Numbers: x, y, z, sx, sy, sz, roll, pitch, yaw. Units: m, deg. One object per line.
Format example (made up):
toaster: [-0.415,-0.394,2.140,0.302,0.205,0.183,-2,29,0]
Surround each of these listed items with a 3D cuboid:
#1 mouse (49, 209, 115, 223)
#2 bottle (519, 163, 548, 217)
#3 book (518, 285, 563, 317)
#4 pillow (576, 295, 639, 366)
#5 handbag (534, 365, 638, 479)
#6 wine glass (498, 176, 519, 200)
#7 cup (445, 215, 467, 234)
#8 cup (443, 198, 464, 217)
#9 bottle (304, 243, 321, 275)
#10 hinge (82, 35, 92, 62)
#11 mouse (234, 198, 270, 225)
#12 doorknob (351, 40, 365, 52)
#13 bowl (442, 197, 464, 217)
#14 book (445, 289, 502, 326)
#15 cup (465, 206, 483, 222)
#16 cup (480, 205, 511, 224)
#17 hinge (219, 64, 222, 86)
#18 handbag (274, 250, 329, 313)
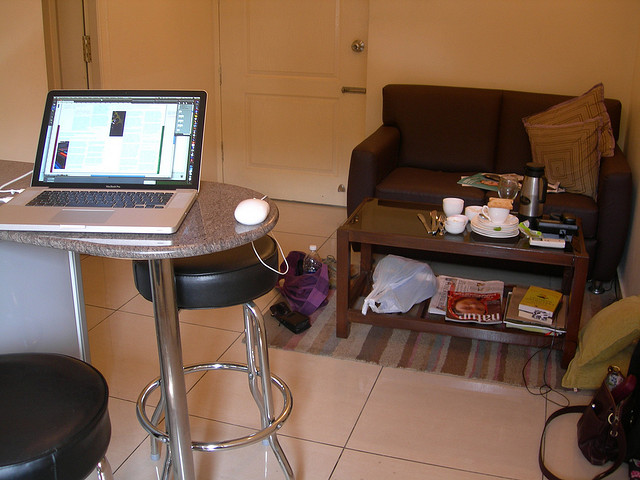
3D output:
mouse: [-0.607,-0.061,1.291,0.140,0.013,0.085,0,19,-1]
bottle: [1.047,-0.240,2.454,0.110,0.249,0.070,6,18,18]
book: [1.056,0.294,2.407,0.137,0.033,0.144,14,38,24]
pillow: [1.228,0.397,2.137,0.195,0.298,0.230,12,21,32]
handbag: [0.978,0.736,1.965,0.359,0.331,0.467,9,42,15]
wine glass: [0.938,-0.259,2.503,0.081,0.106,0.177,6,19,17]
cup: [0.654,-0.074,2.407,0.089,0.072,0.138,9,20,24]
cup: [0.673,-0.170,2.564,0.085,0.074,0.090,-1,11,0]
bottle: [-0.044,0.121,3.009,0.083,0.232,0.091,2,52,-2]
hinge: [-1.540,-1.270,3.321,0.056,0.168,0.021,-8,19,-24]
mouse: [-0.180,-0.074,1.336,0.089,0.056,0.062,-6,19,-19]
doorknob: [0.301,-1.526,3.938,0.098,0.088,0.024,2,17,5]
bowl: [0.675,-0.168,2.566,0.090,0.078,0.090,0,18,0]
book: [0.774,0.339,2.516,0.262,0.063,0.290,6,20,16]
cup: [0.765,-0.129,2.516,0.063,0.054,0.067,0,12,0]
cup: [0.834,-0.130,2.373,0.095,0.063,0.078,12,22,36]
hinge: [-0.852,-1.420,4.314,0.025,0.164,0.013,-4,18,-12]
handbag: [-0.114,0.240,2.906,0.300,0.305,0.253,16,14,29]
